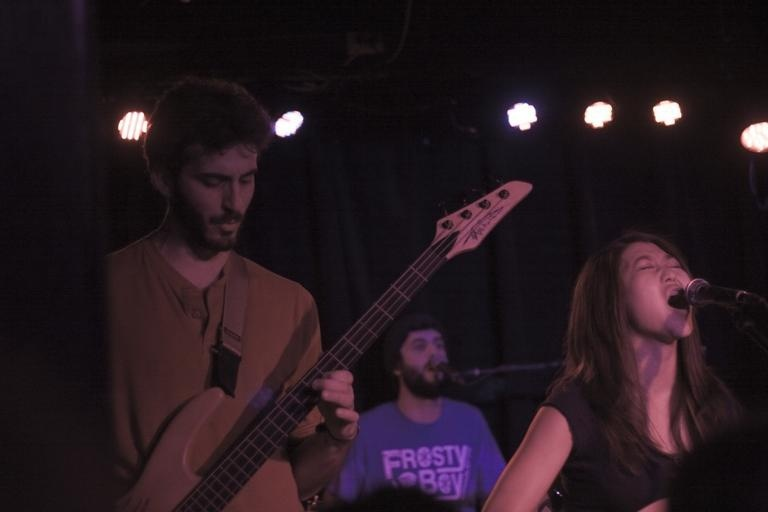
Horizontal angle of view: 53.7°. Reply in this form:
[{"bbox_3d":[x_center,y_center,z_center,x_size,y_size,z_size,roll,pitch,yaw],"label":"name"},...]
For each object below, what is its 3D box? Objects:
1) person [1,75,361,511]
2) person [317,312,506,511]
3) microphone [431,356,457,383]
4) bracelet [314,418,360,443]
[{"bbox_3d":[-0.937,0.162,3.937,1.040,2.371,0.303,18,-18,-22],"label":"person"},{"bbox_3d":[0.107,0.843,3.922,0.864,1.239,0.341,3,-5,-13],"label":"person"},{"bbox_3d":[0.312,0.598,3.983,0.051,0.142,0.093,6,-39,-44],"label":"microphone"},{"bbox_3d":[-0.252,0.896,3.846,0.154,0.041,0.126,16,-56,8],"label":"bracelet"}]
